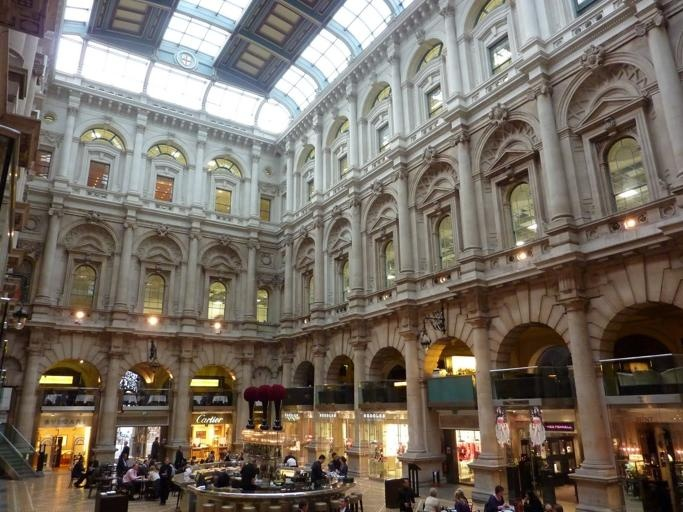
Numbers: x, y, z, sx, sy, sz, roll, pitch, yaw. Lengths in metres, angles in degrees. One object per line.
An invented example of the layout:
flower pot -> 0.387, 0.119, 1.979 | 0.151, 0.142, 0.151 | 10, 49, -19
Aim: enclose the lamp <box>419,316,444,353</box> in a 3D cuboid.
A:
lamp -> 4.057, 3.358, 19.603 | 0.352, 1.386, 1.733 | 7, -23, -19
